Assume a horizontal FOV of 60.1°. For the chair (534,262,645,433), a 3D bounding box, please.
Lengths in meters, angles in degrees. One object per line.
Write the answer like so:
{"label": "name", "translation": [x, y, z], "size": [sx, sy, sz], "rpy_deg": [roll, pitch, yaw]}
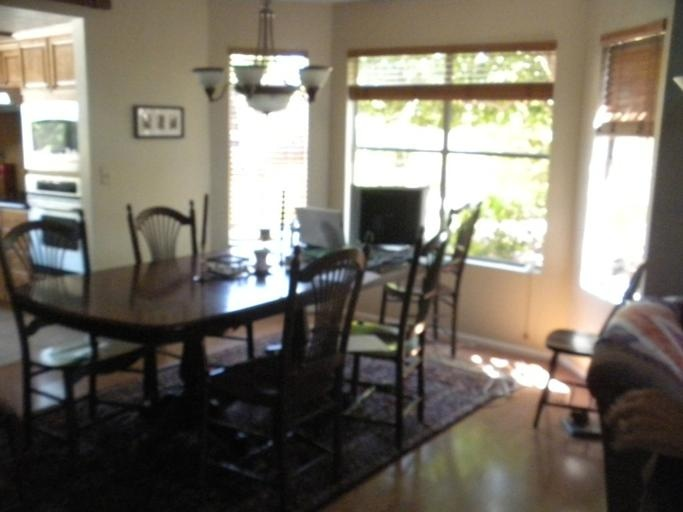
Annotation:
{"label": "chair", "translation": [1.498, 0.549, 3.663], "size": [0.498, 1.087, 0.465], "rpy_deg": [14, 16, 35]}

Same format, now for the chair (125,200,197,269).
{"label": "chair", "translation": [-1.347, -0.169, 4.324], "size": [0.412, 0.749, 0.460], "rpy_deg": [-8, 16, -29]}
